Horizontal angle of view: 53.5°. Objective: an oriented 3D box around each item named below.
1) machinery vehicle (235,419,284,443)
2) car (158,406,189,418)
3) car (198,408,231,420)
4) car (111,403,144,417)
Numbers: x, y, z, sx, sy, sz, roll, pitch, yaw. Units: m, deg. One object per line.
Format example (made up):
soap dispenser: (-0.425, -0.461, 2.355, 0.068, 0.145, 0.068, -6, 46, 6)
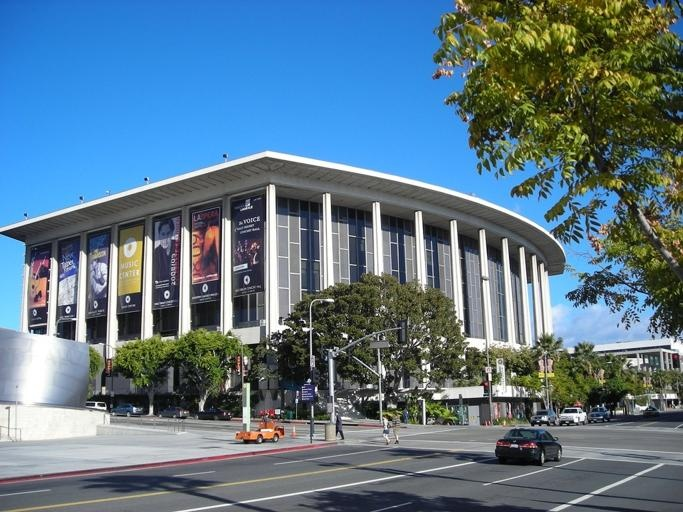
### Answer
machinery vehicle: (-5.233, 11.827, 44.838, 2.961, 1.368, 1.847, 7, -13, -39)
car: (-18.984, 17.692, 76.238, 2.984, 0.868, 1.265, -1, -10, 31)
car: (-13.812, 17.187, 73.147, 4.075, 1.338, 1.828, -14, -19, 37)
car: (-25.184, 18.255, 79.821, 2.929, 1.542, 4.954, 11, -20, -41)
